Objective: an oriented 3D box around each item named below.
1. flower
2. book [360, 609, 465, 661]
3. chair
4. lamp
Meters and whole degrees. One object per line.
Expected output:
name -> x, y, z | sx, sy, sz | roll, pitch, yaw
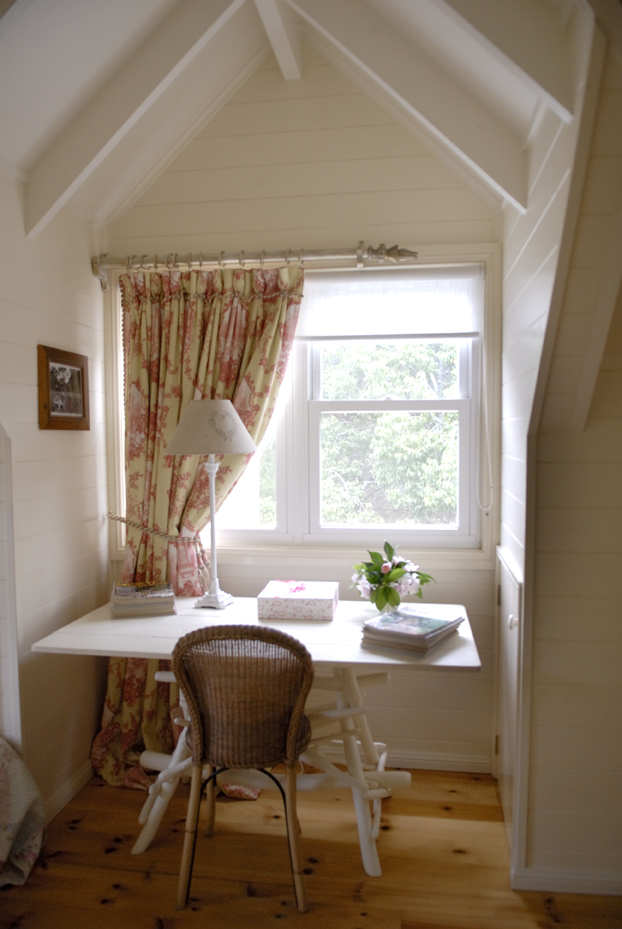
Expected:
flower -> 0.255, 0.418, 2.545 | 0.248, 0.252, 0.252 | 0, 11, 3
book -> 0.312, 0.500, 2.278 | 0.225, 0.065, 0.318 | 2, 6, 30
chair -> -0.186, 0.792, 2.056 | 0.371, 0.819, 0.384 | -1, 5, -5
lamp -> -0.338, 0.138, 2.619 | 0.277, 0.723, 0.417 | -1, 5, -5
